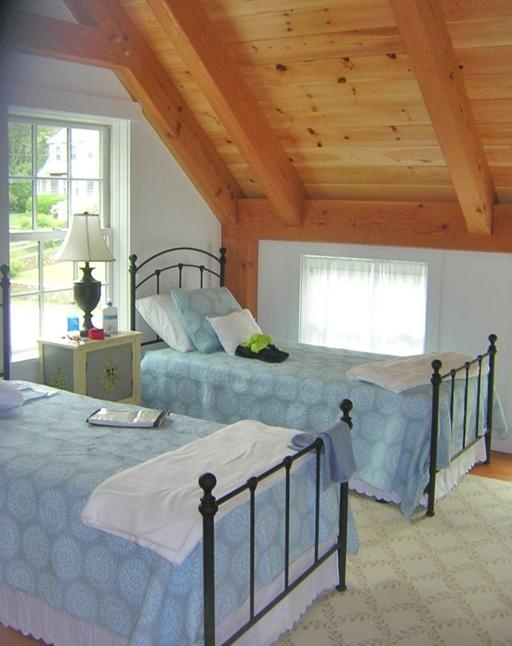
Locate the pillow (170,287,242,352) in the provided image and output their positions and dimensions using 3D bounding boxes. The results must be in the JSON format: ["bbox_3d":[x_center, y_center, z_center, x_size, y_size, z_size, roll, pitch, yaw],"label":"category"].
[{"bbox_3d":[-0.359,-0.036,3.787,0.143,0.426,0.493,-30,-11,32],"label":"pillow"}]

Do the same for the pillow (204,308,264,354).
[{"bbox_3d":[-0.147,0.042,3.756,0.339,0.280,0.089,-15,-20,-50],"label":"pillow"}]

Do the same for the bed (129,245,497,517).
[{"bbox_3d":[0.450,0.260,3.412,1.555,0.981,1.091,7,19,29],"label":"bed"}]

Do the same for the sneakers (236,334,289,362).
[{"bbox_3d":[0.050,0.174,3.585,0.237,0.084,0.193,7,10,31],"label":"sneakers"}]
